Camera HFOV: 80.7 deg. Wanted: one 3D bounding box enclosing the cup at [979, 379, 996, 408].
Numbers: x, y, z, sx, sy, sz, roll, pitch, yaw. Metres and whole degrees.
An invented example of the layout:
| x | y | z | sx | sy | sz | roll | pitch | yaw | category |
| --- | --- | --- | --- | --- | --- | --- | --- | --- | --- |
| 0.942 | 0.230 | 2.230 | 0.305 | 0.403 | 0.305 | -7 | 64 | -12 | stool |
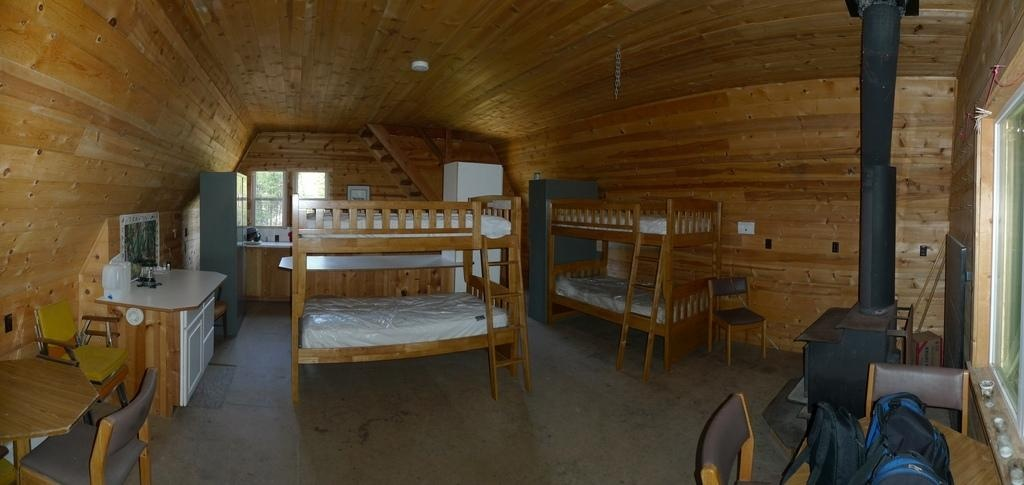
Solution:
| x | y | z | sx | sy | sz | roll | pitch | yaw | category |
| --- | --- | --- | --- | --- | --- | --- | --- | --- | --- |
| 5.221 | 1.662 | 6.622 | 0.134 | 0.237 | 0.235 | 1 | 1 | 37 | cup |

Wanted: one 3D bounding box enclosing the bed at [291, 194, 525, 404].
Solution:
| x | y | z | sx | sy | sz | roll | pitch | yaw | category |
| --- | --- | --- | --- | --- | --- | --- | --- | --- | --- |
| -1.564 | 0.706 | 8.994 | 3.266 | 2.807 | 2.211 | 0 | 1 | -17 | bed |

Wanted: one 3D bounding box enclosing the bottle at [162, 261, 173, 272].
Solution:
| x | y | z | sx | sy | sz | roll | pitch | yaw | category |
| --- | --- | --- | --- | --- | --- | --- | --- | --- | --- |
| -5.322 | 0.371 | 9.298 | 0.111 | 0.080 | 0.178 | -6 | 10 | -25 | bottle |

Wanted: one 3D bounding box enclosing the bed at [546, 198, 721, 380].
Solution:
| x | y | z | sx | sy | sz | roll | pitch | yaw | category |
| --- | --- | --- | --- | --- | --- | --- | --- | --- | --- |
| 2.074 | 0.419 | 10.238 | 1.990 | 1.997 | 2.667 | -7 | 9 | -39 | bed |

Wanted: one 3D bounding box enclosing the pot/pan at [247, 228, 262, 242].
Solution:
| x | y | z | sx | sy | sz | roll | pitch | yaw | category |
| --- | --- | --- | --- | --- | --- | --- | --- | --- | --- |
| -5.142 | -0.143 | 12.068 | 0.314 | 0.226 | 0.257 | -2 | 16 | -1 | pot/pan |
